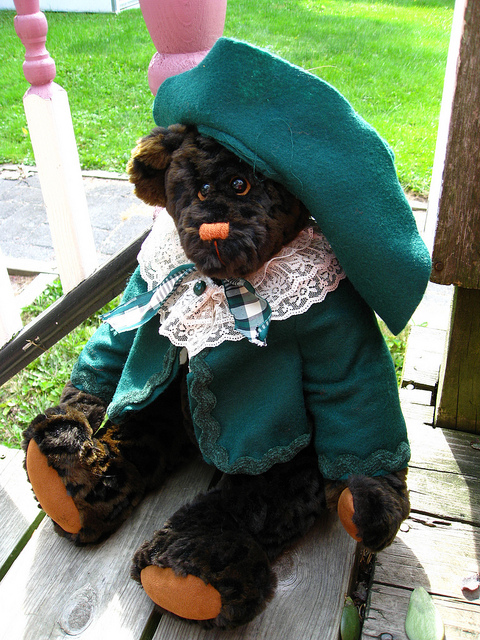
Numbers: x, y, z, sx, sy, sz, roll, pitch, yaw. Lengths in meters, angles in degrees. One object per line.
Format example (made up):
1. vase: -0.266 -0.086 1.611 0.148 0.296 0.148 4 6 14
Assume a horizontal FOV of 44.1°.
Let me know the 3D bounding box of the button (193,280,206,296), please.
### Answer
1. button: -0.085 -0.067 1.269 0.028 0.009 0.028 21 83 22

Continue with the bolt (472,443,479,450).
1. bolt: 0.634 0.339 1.591 0.017 0.004 0.021 9 34 19

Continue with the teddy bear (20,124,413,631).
1. teddy bear: -0.104 0.207 1.365 0.810 1.136 0.813 6 35 15

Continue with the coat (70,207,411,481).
1. coat: 0.002 -0.034 1.381 0.865 0.694 0.449 11 21 29

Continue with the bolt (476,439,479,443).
1. bolt: 0.645 0.328 1.608 0.006 0.004 0.007 -5 38 15
